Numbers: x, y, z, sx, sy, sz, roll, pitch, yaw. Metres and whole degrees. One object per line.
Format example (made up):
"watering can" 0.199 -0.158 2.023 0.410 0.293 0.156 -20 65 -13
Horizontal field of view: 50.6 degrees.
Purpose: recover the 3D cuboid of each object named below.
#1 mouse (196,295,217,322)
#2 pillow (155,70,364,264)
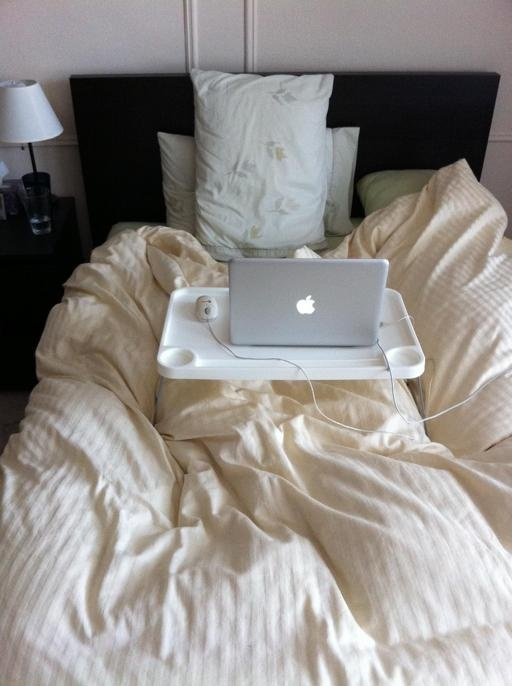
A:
"mouse" -0.112 -0.076 1.214 0.032 0.022 0.062 1 58 -4
"pillow" 0.005 -0.662 2.032 0.734 0.781 0.444 -1 22 -4
